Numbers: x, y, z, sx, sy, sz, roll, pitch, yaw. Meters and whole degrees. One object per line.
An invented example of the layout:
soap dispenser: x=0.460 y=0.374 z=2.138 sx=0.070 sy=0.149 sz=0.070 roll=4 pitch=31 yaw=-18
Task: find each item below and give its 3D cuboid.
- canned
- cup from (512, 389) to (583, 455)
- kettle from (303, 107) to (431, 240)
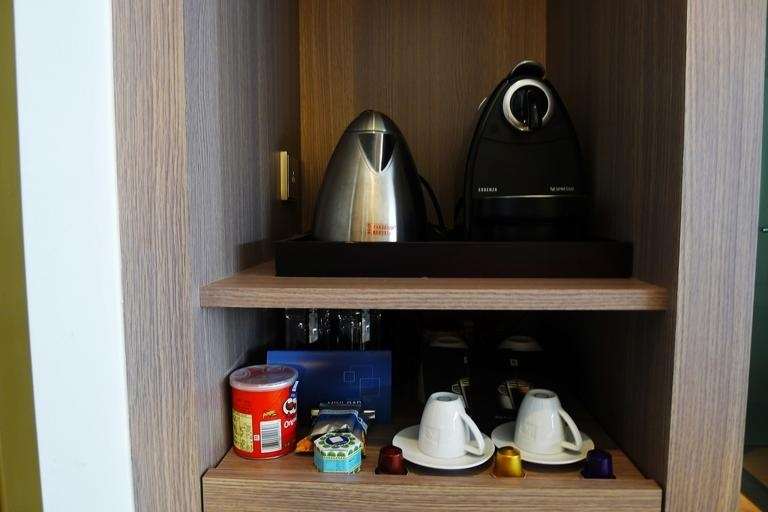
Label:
canned: x=-0.243 y=0.311 z=1.393 sx=0.133 sy=0.161 sz=0.138 roll=7 pitch=12 yaw=36
cup: x=0.341 y=0.339 z=1.380 sx=0.094 sy=0.111 sz=0.141 roll=-14 pitch=21 yaw=-43
kettle: x=-0.030 y=-0.168 z=1.545 sx=0.273 sy=0.321 sz=0.275 roll=3 pitch=-3 yaw=-38
